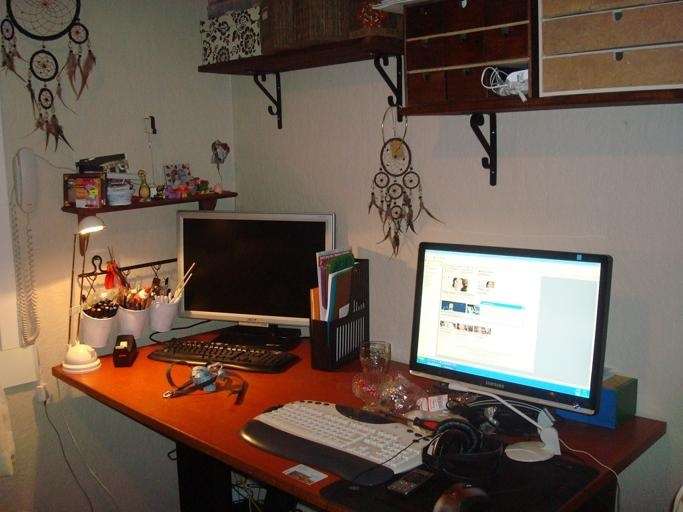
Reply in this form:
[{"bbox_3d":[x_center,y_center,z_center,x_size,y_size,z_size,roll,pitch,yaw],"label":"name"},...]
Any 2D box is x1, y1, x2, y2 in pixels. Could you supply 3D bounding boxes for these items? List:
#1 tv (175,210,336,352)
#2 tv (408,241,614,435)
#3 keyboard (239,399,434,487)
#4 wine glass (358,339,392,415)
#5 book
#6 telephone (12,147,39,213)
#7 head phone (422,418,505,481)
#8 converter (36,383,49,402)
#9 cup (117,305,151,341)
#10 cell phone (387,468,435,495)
[{"bbox_3d":[-0.370,0.091,2.274,0.698,0.587,0.228,3,13,9],"label":"tv"},{"bbox_3d":[0.520,0.248,1.583,0.481,0.381,0.129,9,6,38],"label":"tv"},{"bbox_3d":[-0.021,0.511,1.511,0.520,0.068,0.278,2,9,28],"label":"keyboard"},{"bbox_3d":[0.114,0.401,1.833,0.108,0.234,0.110,-7,9,-37],"label":"wine glass"},{"bbox_3d":[-0.025,0.097,2.022,0.110,0.242,0.206,2,9,26],"label":"book"},{"bbox_3d":[-1.182,-0.278,1.994,0.090,0.239,0.084,-7,9,-31],"label":"telephone"},{"bbox_3d":[0.306,0.492,1.364,0.186,0.110,0.113,1,9,21],"label":"head phone"},{"bbox_3d":[-1.177,0.532,2.094,0.037,0.070,0.063,-7,9,-33],"label":"converter"},{"bbox_3d":[-0.848,0.265,2.222,0.136,0.125,0.126,5,8,-1],"label":"cup"},{"bbox_3d":[0.173,0.559,1.327,0.124,0.019,0.053,-9,11,-40],"label":"cell phone"}]
